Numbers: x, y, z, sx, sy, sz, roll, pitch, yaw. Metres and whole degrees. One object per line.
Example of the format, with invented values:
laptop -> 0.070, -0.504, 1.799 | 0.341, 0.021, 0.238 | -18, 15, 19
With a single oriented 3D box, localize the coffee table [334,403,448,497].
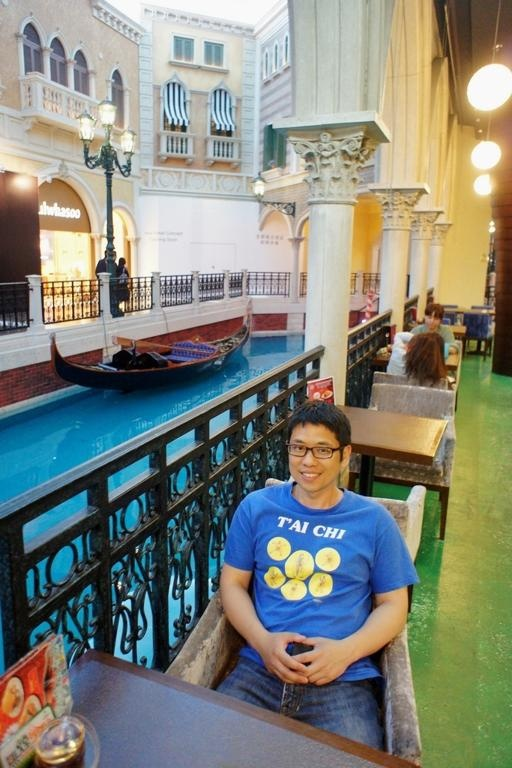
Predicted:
coffee table -> 0.841, 0.504, 3.276 | 0.625, 0.691, 0.668 | 6, 17, 17

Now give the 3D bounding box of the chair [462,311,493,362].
chair -> 5.054, -1.210, 11.615 | 0.568, 0.953, 2.468 | 10, -5, 26
